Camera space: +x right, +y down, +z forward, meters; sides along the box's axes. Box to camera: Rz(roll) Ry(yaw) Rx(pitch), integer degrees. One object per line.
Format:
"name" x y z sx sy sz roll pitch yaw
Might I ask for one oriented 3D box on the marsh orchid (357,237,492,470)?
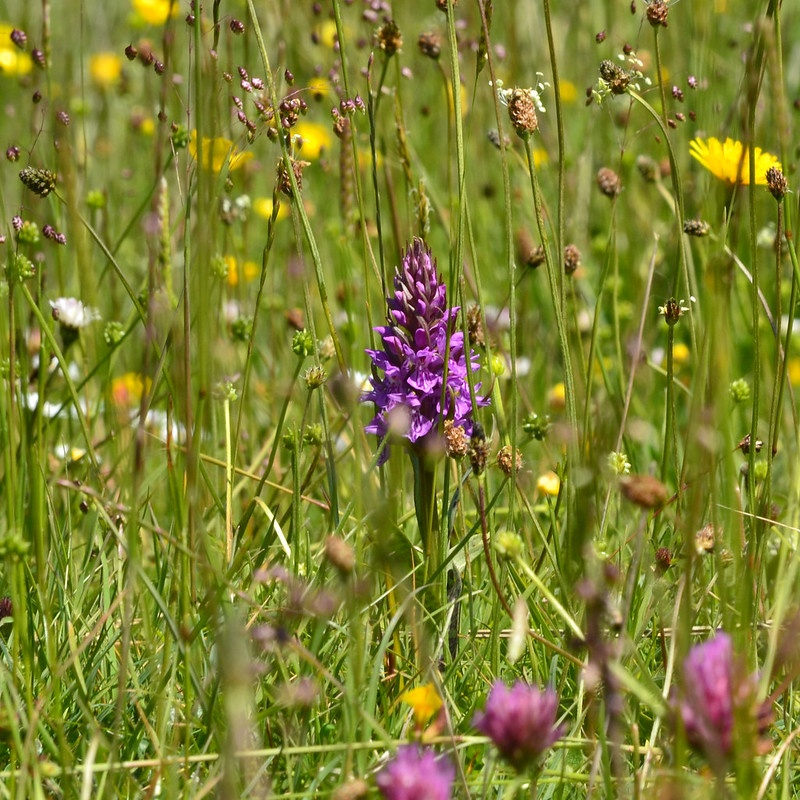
"marsh orchid" 0.034 -0.072 1.872 0.241 0.693 0.302 0 -1 -4

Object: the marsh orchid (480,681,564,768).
"marsh orchid" 0.146 0.370 1.232 0.077 0.130 0.100 -1 6 -8
